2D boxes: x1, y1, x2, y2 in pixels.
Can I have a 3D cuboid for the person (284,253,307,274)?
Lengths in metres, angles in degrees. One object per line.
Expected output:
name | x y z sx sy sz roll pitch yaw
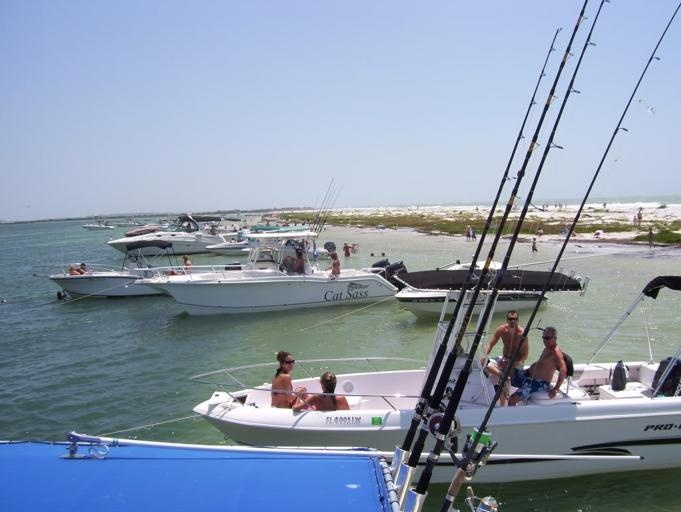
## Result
person | -1.616 0.238 19.597 0.626 0.792 0.448 27 37 7

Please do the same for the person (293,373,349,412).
person | -0.331 2.519 10.134 0.963 0.501 0.391 10 15 -2
